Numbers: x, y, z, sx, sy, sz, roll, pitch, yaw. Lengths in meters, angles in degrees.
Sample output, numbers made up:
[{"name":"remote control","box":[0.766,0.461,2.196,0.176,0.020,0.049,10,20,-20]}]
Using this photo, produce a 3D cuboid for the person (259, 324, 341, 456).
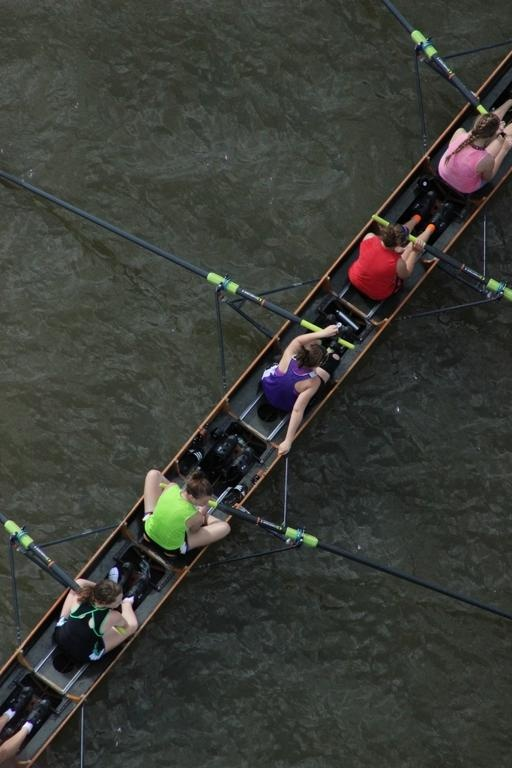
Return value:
[{"name":"person","box":[0.397,0.055,9.108,0.443,0.699,1.110,34,75,6]}]

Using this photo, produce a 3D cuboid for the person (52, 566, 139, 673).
[{"name":"person","box":[-1.407,2.011,8.402,0.606,0.786,0.507,30,33,7]}]

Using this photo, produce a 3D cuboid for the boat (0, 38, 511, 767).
[{"name":"boat","box":[-0.280,1.043,12.020,6.541,0.855,6.392,37,78,2]}]
